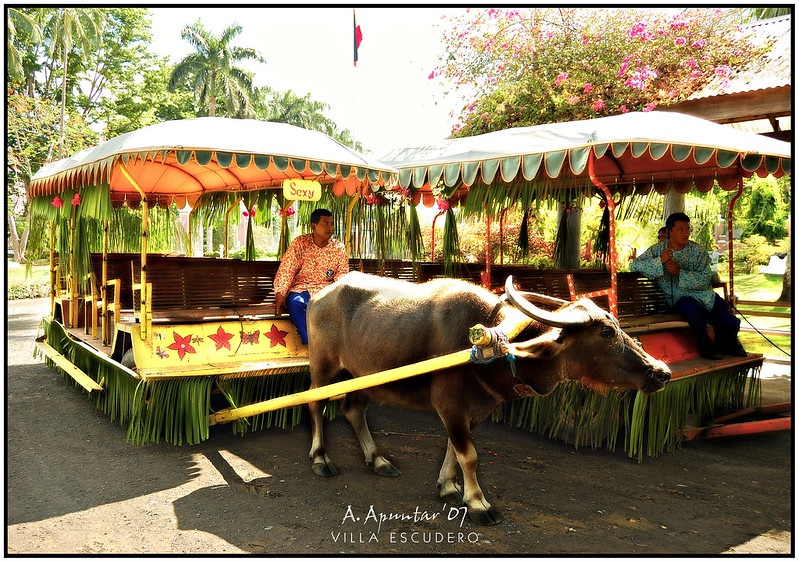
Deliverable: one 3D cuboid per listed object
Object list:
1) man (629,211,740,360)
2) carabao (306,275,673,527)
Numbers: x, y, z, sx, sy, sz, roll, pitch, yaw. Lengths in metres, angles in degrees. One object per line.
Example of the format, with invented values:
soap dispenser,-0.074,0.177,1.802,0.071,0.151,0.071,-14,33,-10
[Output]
man,3.911,0.075,8.446,0.923,2.072,1.127,-12,2,-20
carabao,0.497,1.049,6.193,3.490,2.369,0.691,7,14,29
